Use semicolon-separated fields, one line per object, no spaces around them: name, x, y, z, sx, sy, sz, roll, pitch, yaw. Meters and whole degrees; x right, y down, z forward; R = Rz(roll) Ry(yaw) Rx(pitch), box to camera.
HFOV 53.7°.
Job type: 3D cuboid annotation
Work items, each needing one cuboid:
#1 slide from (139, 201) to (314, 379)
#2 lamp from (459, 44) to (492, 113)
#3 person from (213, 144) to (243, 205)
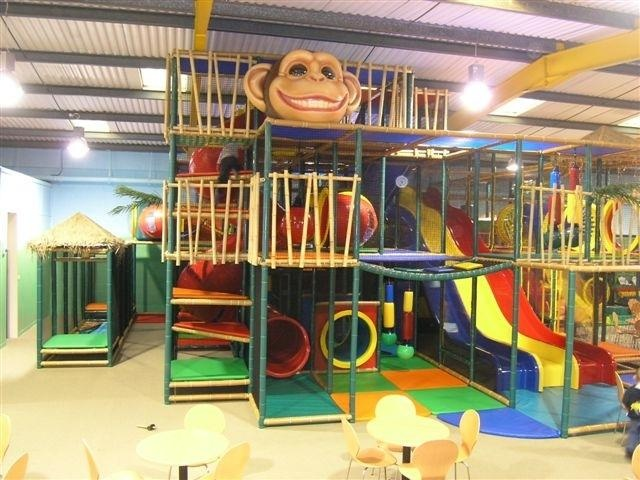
slide;-1.607;1.349;11.979;2.864;3.077;1.859;2;3;-31
lamp;3.084;-3.134;12.406;0.569;1.142;0.527;2;3;9
person;-1.539;-1.126;10.852;0.498;1.061;0.465;9;3;-3
